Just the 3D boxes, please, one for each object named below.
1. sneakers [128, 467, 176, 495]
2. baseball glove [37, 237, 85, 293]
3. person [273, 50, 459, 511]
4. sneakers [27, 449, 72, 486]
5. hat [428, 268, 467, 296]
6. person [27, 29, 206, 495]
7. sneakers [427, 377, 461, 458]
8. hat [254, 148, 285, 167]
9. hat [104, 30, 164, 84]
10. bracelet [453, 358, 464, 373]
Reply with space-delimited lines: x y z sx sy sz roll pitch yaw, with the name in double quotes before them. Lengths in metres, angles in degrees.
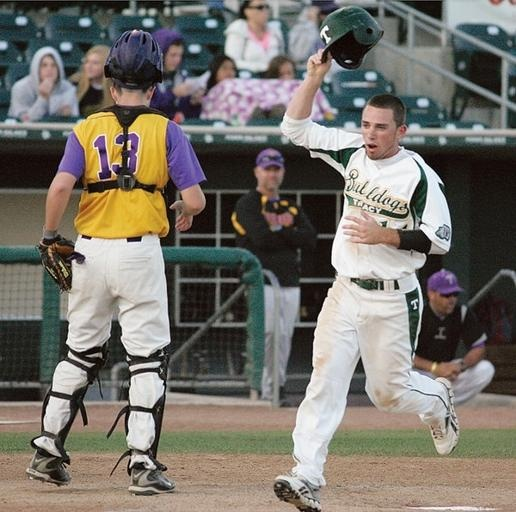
"sneakers" -0.590 1.276 8.032 0.278 0.164 0.176 2 4 -7
"baseball glove" -1.127 0.049 8.122 0.256 0.324 0.124 -45 -26 24
"person" 0.668 0.126 8.124 1.075 2.613 1.034 3 4 3
"sneakers" -1.197 1.220 8.102 0.252 0.232 0.157 2 4 -8
"hat" 1.451 0.217 10.782 0.189 0.138 0.241 2 -1 -20
"person" -0.797 0.243 8.097 0.948 2.200 0.483 2 4 -3
"sneakers" 1.176 1.014 8.623 0.174 0.482 0.237 4 20 24
"hat" 0.107 -0.787 11.436 0.166 0.113 0.219 2 5 -4
"hat" -0.716 -1.136 8.133 0.303 0.268 0.349 6 10 1
"bracelet" 1.557 0.855 10.751 0.026 0.089 0.068 1 4 -40
